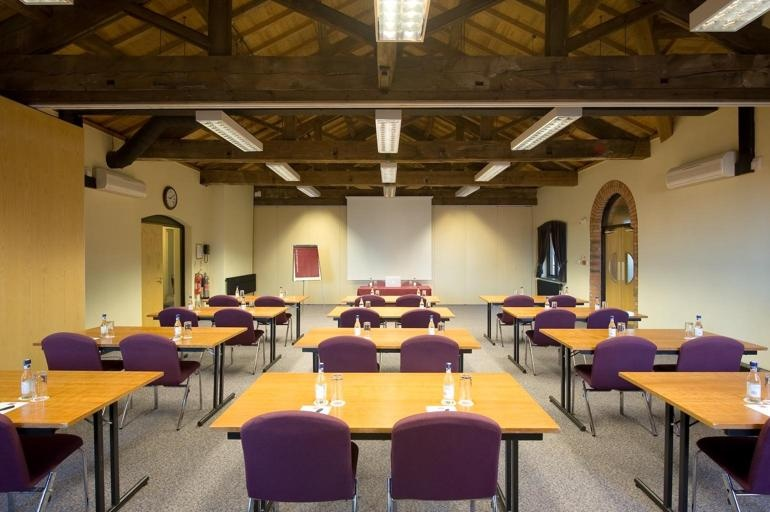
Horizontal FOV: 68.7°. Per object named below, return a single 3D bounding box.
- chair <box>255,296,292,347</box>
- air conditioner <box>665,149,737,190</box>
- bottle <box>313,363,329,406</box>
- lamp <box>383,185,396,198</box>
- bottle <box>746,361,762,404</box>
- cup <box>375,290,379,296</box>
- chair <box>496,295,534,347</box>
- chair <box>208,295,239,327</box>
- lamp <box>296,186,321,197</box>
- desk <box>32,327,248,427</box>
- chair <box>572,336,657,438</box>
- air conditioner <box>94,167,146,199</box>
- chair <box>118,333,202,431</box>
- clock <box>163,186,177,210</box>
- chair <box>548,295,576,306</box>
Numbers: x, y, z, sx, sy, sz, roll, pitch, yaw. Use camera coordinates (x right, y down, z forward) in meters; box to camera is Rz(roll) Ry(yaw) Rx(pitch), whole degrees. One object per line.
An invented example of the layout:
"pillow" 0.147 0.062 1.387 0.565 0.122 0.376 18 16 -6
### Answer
"chair" -1.990 1.147 10.028 0.609 0.971 0.635 -3 -16 -17
"air conditioner" 5.090 -1.356 9.197 0.199 0.312 1.126 -5 0 -17
"bottle" -0.680 1.346 5.950 0.141 0.421 0.397 -1 -4 -7
"lamp" 0.097 -1.592 13.743 0.310 0.247 0.306 0 -6 2
"bottle" 3.898 1.333 5.997 0.161 0.417 0.339 -3 -4 32
"cup" -0.170 0.811 12.237 0.096 0.157 0.089 0 -8 0
"chair" 2.477 1.178 10.703 0.710 1.073 0.728 -3 12 -13
"chair" -2.934 0.960 10.304 0.426 0.561 0.487 1 4 -4
"lamp" -1.963 -1.638 14.340 0.558 0.139 0.491 1 -2 1
"desk" -3.180 1.507 8.069 2.014 0.880 1.467 6 -2 8
"chair" 3.017 1.622 7.493 0.844 1.293 1.142 -1 4 -1
"air conditioner" -4.870 -1.338 10.385 0.239 0.377 1.041 -2 -4 18
"chair" -2.973 1.617 7.575 0.789 1.229 1.035 1 2 3
"clock" -4.689 -1.259 12.240 0.097 0.554 0.581 -3 0 10
"chair" 3.241 0.826 10.269 0.369 0.193 0.259 -1 -2 24
